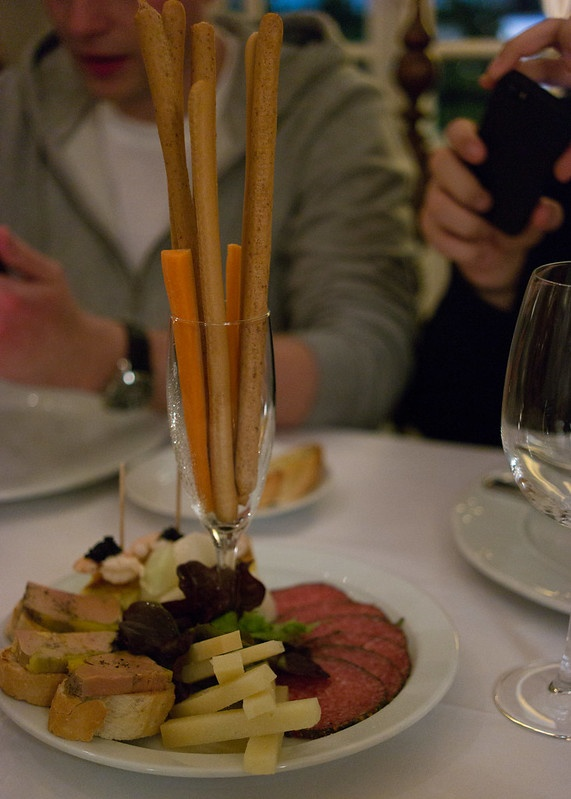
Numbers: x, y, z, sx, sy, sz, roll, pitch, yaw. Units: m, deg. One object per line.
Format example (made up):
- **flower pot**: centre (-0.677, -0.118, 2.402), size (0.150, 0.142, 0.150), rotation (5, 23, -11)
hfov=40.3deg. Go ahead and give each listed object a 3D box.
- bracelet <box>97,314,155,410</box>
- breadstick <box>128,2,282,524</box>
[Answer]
- **bracelet**: centre (-0.218, -0.023, 1.063), size (0.068, 0.030, 0.084), rotation (24, 23, -25)
- **breadstick**: centre (-0.034, -0.089, 0.504), size (0.080, 0.308, 0.173), rotation (-4, 23, 0)
